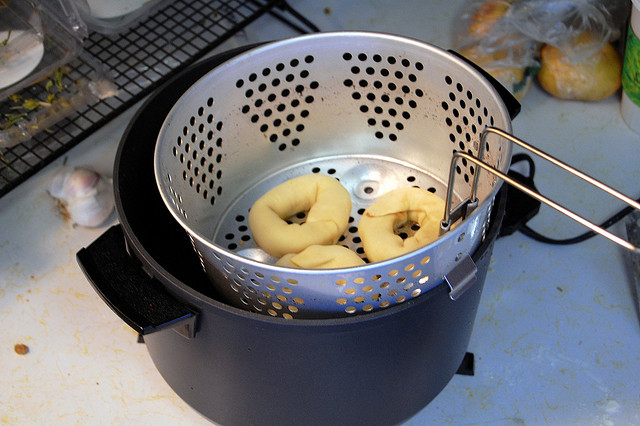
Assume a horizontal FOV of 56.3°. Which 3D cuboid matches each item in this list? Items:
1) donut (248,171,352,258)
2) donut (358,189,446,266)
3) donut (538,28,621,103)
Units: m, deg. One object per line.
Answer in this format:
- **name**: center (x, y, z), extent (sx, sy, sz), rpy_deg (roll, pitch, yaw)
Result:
- **donut**: center (-0.033, 0.006, 1.119), extent (0.198, 0.079, 0.169), rpy_deg (-24, 43, -25)
- **donut**: center (0.146, 0.023, 1.054), extent (0.133, 0.052, 0.127), rpy_deg (-33, 49, -17)
- **donut**: center (0.661, -0.346, 1.504), extent (0.252, 0.153, 0.194), rpy_deg (-15, 19, -35)
